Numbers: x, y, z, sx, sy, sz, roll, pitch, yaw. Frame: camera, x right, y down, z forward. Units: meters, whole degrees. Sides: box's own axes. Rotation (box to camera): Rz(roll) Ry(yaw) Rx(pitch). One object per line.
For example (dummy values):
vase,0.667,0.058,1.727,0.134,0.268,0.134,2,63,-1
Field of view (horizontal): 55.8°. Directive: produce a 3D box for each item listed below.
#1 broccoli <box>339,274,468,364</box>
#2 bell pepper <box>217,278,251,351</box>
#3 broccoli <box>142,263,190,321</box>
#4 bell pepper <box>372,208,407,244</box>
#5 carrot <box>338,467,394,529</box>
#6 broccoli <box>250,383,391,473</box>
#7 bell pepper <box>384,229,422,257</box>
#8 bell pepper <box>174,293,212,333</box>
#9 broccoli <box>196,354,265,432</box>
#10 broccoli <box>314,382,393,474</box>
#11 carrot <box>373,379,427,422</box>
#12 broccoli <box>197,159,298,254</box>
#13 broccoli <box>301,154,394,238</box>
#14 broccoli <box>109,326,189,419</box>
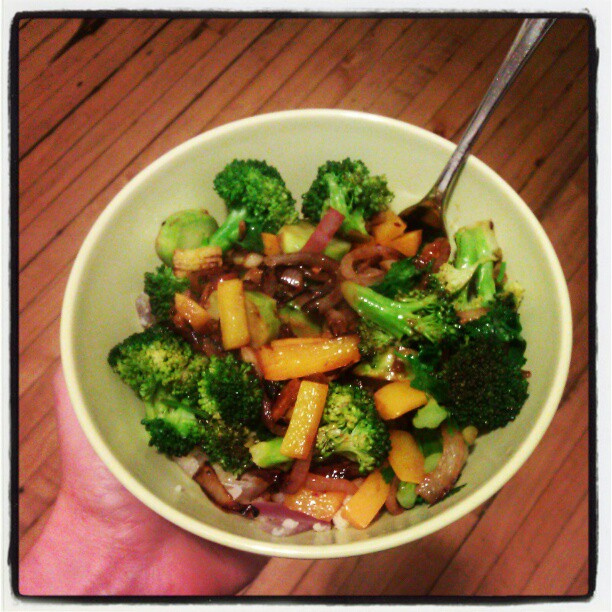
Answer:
broccoli,0.426,0.079,2.601,0.601,0.292,0.135,14,-16,1
bell pepper,-0.335,0.038,2.653,0.134,0.320,0.071,-4,-12,-13
broccoli,-0.663,-0.088,2.802,0.183,0.229,0.302,-5,25,-11
bell pepper,0.428,-0.362,2.925,0.161,0.172,0.129,-34,-10,6
carrot,0.288,0.818,2.626,0.293,0.077,0.168,-18,24,28
broccoli,0.082,0.414,2.706,0.577,0.374,0.627,0,23,4
bell pepper,0.500,-0.310,2.846,0.147,0.134,0.047,27,-9,13
bell pepper,-0.535,0.020,2.690,0.203,0.100,0.052,42,-13,8
broccoli,-0.327,0.389,2.545,0.250,0.305,0.368,-11,29,-19
broccoli,0.224,0.594,2.665,0.303,0.387,0.209,43,21,19
carrot,0.422,0.403,2.603,0.180,0.072,0.251,17,41,35
broccoli,-0.260,-0.450,2.957,0.464,0.532,0.421,-19,25,-5
broccoli,0.198,-0.548,2.824,0.344,0.456,0.246,-6,4,-1
broccoli,-0.682,0.275,2.653,0.333,0.377,0.155,-36,-10,-12
